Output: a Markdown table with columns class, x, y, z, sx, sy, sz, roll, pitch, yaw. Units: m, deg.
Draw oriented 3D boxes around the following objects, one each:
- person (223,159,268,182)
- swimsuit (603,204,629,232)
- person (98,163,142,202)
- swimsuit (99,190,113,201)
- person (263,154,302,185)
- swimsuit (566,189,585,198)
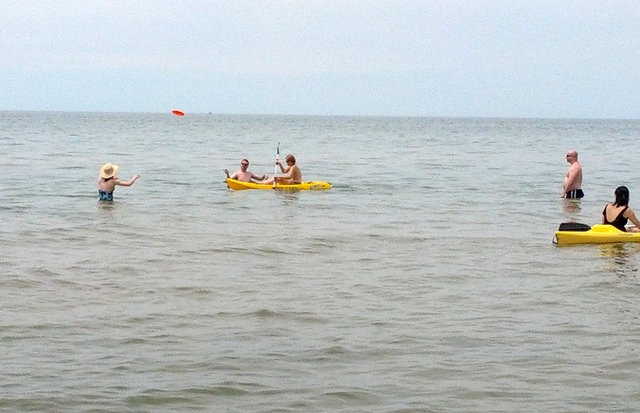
| class | x | y | z | sx | sy | sz | roll | pitch | yaw |
| --- | --- | --- | --- | --- | --- | --- | --- | --- | --- |
| person | -3.067 | -1.452 | 51.042 | 1.741 | 0.850 | 0.502 | 3 | -10 | -29 |
| swimsuit | 8.223 | 0.336 | 34.771 | 0.840 | 0.817 | 0.529 | 6 | 3 | 39 |
| person | -6.951 | -0.800 | 43.450 | 1.401 | 1.475 | 0.607 | 24 | 46 | 8 |
| swimsuit | -6.896 | -0.348 | 40.367 | 0.614 | 0.345 | 0.302 | 1 | -1 | -3 |
| person | -1.430 | -1.206 | 44.412 | 1.709 | 0.983 | 0.781 | -3 | 11 | 8 |
| swimsuit | 8.506 | -0.435 | 41.728 | 0.533 | 0.300 | 0.400 | 1 | 5 | 3 |
